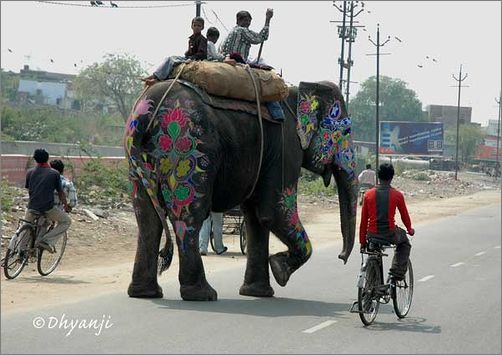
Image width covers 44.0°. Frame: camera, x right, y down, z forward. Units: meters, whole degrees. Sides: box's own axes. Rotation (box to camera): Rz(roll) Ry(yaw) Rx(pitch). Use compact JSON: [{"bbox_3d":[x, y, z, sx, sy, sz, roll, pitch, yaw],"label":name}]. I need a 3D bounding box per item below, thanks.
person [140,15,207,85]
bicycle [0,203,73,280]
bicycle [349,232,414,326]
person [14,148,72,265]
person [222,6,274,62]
[{"bbox_3d":[-0.999,-1.870,9.086,0.587,0.997,0.972,2,-1,27],"label":"person"},{"bbox_3d":[-3.937,1.169,10.796,0.697,1.022,1.649,6,8,16],"label":"bicycle"},{"bbox_3d":[1.640,1.409,8.318,0.669,0.822,1.279,3,6,28],"label":"bicycle"},{"bbox_3d":[-3.422,0.415,10.408,0.725,1.824,0.522,2,-1,-29],"label":"person"},{"bbox_3d":[-0.094,-2.170,9.452,0.787,0.723,0.348,2,0,2],"label":"person"}]
